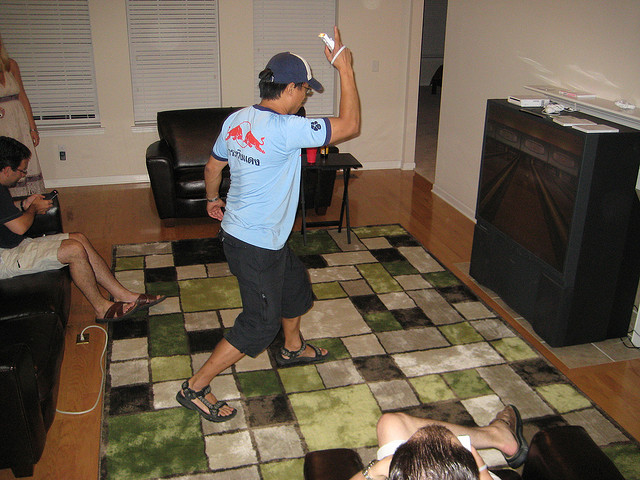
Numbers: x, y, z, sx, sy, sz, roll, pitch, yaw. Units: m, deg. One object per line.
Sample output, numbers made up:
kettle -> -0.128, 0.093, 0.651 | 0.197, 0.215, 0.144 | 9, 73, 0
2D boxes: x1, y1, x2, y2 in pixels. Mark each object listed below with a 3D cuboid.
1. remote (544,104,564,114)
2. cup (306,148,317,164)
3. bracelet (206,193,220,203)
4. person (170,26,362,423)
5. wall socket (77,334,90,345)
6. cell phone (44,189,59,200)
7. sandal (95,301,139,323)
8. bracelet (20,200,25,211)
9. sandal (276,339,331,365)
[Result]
remote -> 1.758, -0.991, 3.457 | 0.123, 0.047, 0.228 | 20, 34, 29
cup -> -0.095, -0.851, 4.626 | 0.126, 0.141, 0.126 | -1, 26, 1
bracelet -> -0.698, -0.255, 2.962 | 0.069, 0.055, 0.063 | 0, 29, -4
person -> -0.308, -0.105, 2.692 | 1.017, 2.110, 1.107 | 10, 18, 28
wall socket -> -1.778, 0.749, 3.436 | 0.071, 0.016, 0.066 | -2, 23, -19
cell phone -> -2.145, -0.382, 3.679 | 0.046, 0.043, 0.161 | 29, 36, -8
sandal -> -1.595, 0.571, 3.592 | 0.272, 0.104, 0.144 | -11, 22, -14
bracelet -> -2.355, -0.270, 3.621 | 0.017, 0.070, 0.065 | -1, -12, -8
sandal -> -0.112, 0.809, 3.305 | 0.391, 0.167, 0.154 | -5, 21, -11
